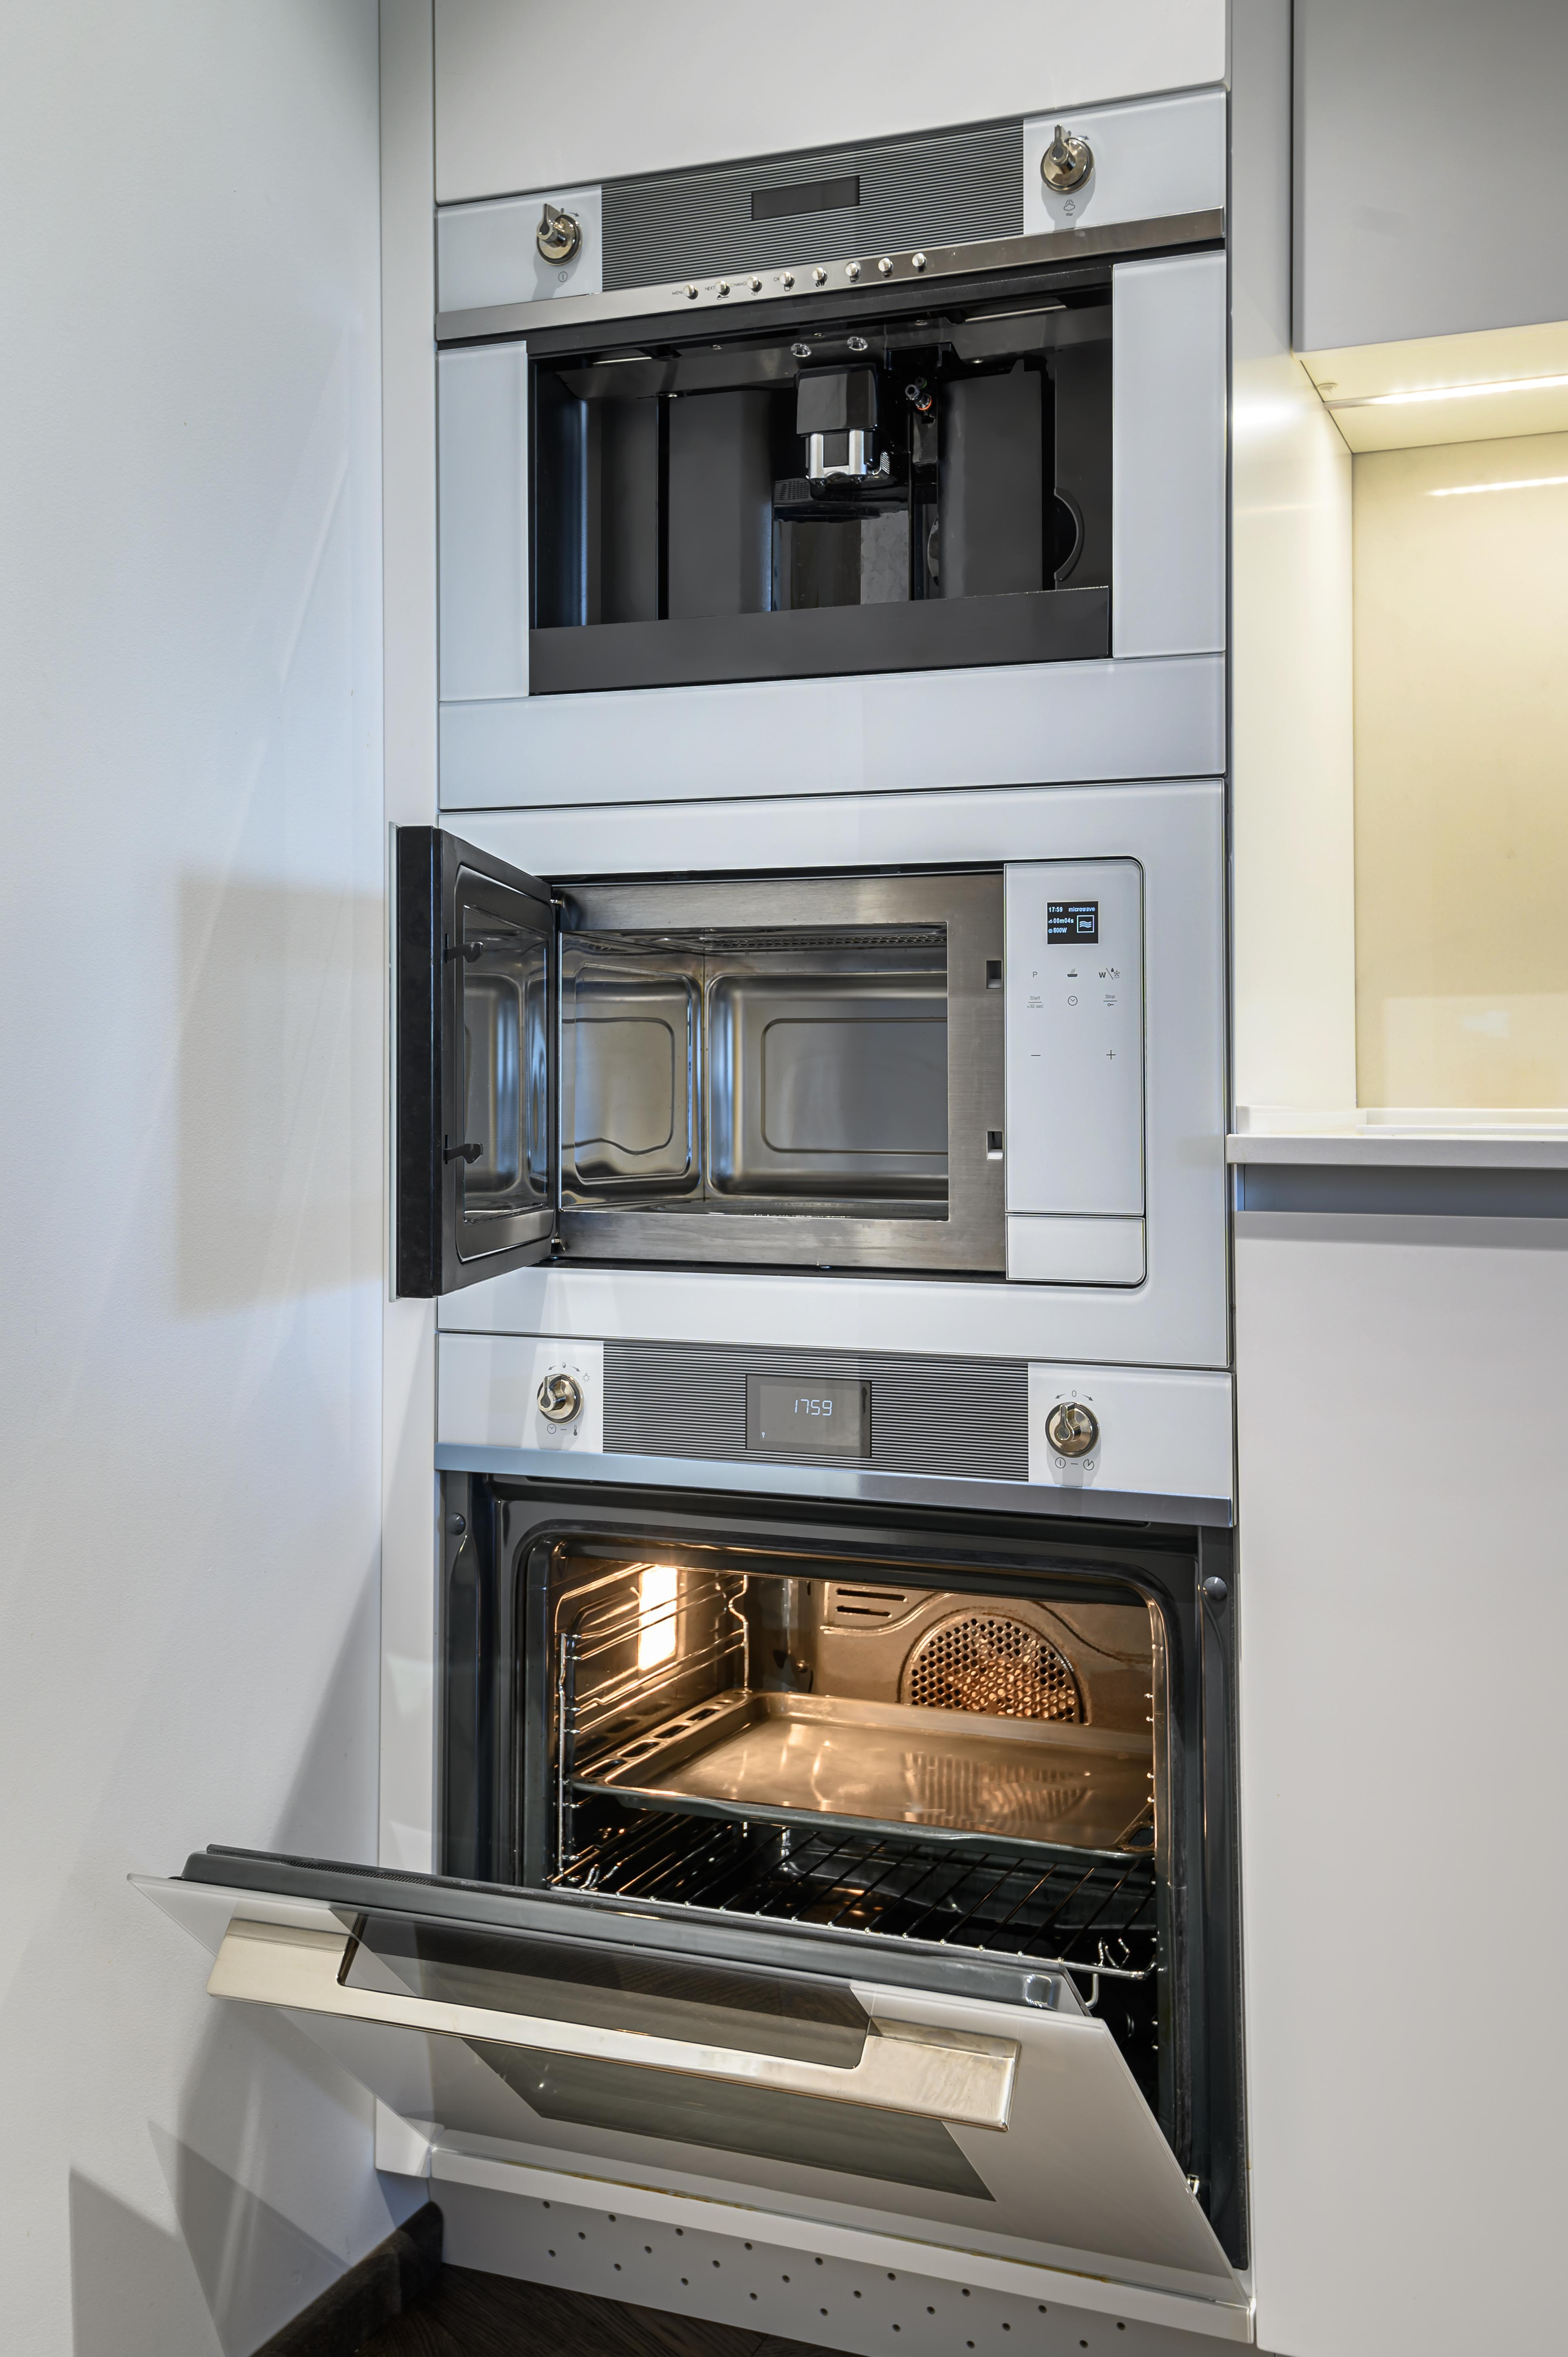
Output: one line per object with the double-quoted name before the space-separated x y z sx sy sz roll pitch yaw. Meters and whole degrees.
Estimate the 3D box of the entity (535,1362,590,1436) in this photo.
"entity" -0.184 0.185 1.841 0.055 0.060 0.023 -2 -6 33

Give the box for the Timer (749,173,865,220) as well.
"Timer" 0.022 -0.788 1.760 0.060 0.043 0.015 2 8 20

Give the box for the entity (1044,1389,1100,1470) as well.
"entity" 0.219 0.191 1.666 0.053 0.073 0.021 -2 -8 29

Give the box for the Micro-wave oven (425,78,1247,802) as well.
"Micro-wave oven" 0.068 -0.578 1.940 0.825 0.680 0.452 1 5 16

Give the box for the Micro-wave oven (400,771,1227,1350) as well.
"Micro-wave oven" -0.048 -0.057 1.804 0.629 0.501 0.345 8 -33 -6

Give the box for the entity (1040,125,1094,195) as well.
"entity" 0.211 -0.766 1.655 0.033 0.050 0.026 13 25 22
